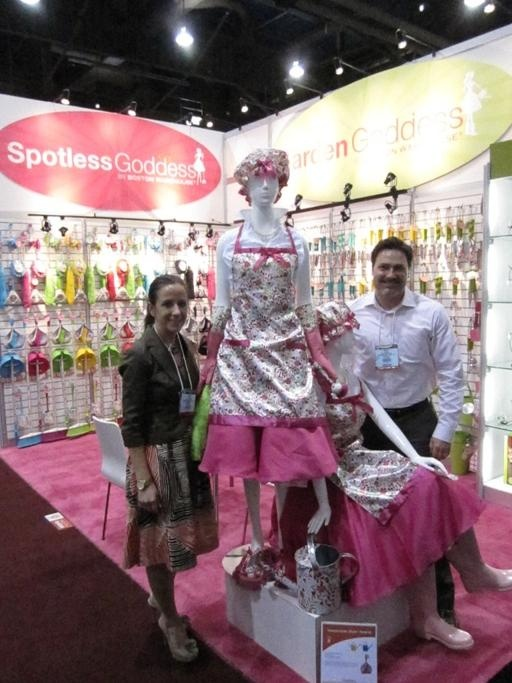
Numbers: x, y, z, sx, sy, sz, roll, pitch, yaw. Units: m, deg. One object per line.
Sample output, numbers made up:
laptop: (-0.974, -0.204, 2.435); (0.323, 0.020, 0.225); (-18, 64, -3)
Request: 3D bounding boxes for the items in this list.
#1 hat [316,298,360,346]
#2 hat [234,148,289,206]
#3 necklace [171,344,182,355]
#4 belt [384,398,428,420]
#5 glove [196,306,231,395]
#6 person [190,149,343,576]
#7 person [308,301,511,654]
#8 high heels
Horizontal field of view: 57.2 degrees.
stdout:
hat: (0.274, -0.087, 1.699); (0.165, 0.092, 0.121); (-19, 32, -34)
hat: (0.028, -0.562, 1.644); (0.169, 0.187, 0.201); (2, 6, -2)
necklace: (-0.293, 0.032, 1.760); (0.028, 0.013, 0.038); (4, 28, -7)
belt: (0.714, 0.324, 2.208); (0.104, 0.046, 0.128); (-9, -25, -13)
glove: (-0.149, 0.020, 1.680); (0.069, 0.323, 0.071); (8, 11, -35)
person: (0.028, -0.111, 1.525); (0.483, 0.736, 0.397); (-2, -1, 9)
person: (0.575, 0.500, 1.764); (0.408, 0.968, 0.784); (-3, -2, 41)
high heels: (-0.321, 1.145, 1.869); (0.090, 0.073, 0.270); (16, -3, -34)
